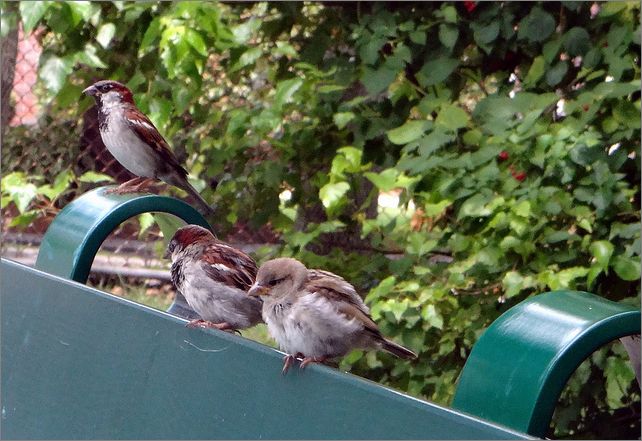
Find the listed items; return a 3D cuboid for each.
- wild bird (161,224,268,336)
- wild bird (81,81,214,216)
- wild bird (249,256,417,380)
[{"bbox_3d":[-0.326,0.180,2.698,0.441,0.393,0.264,-5,-6,-18],"label":"wild bird"},{"bbox_3d":[-0.786,-0.405,3.500,0.236,0.478,0.689,0,-6,43],"label":"wild bird"},{"bbox_3d":[0.047,0.284,2.415,0.547,0.354,0.293,2,-7,-33],"label":"wild bird"}]
